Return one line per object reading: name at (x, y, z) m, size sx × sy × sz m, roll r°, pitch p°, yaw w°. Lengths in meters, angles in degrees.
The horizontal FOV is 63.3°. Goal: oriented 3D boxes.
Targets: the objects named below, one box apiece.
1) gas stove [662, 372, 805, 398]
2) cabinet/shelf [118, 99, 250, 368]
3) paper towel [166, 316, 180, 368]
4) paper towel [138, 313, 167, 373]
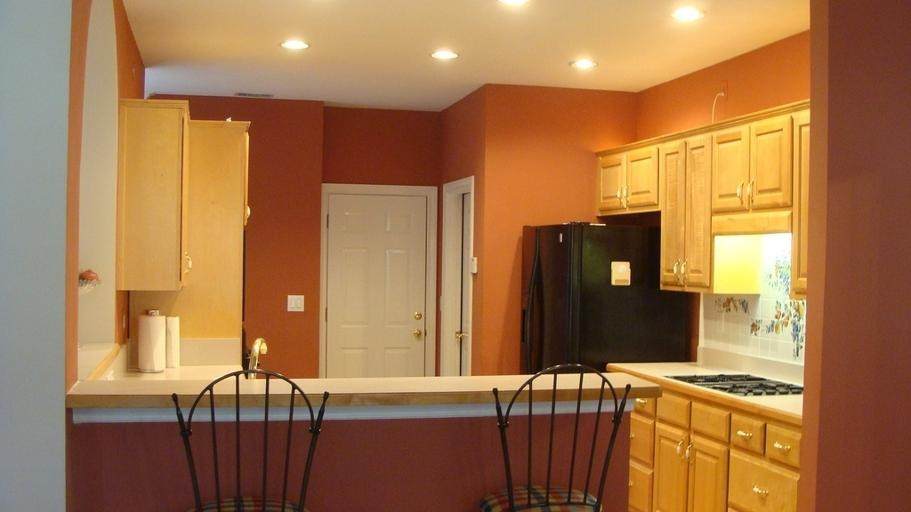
gas stove at (2.041, 0.917, 5.310) m, size 0.788 × 0.078 × 0.659 m, roll 1°, pitch -3°, yaw -16°
cabinet/shelf at (-1.924, -0.115, 5.249) m, size 0.834 × 1.824 × 0.789 m, roll 1°, pitch -2°, yaw -18°
paper towel at (-2.037, 0.601, 5.319) m, size 0.101 × 0.252 × 0.098 m, roll 4°, pitch -10°, yaw -40°
paper towel at (-2.109, 0.593, 5.120) m, size 0.163 × 0.421 × 0.128 m, roll 2°, pitch -3°, yaw -25°
